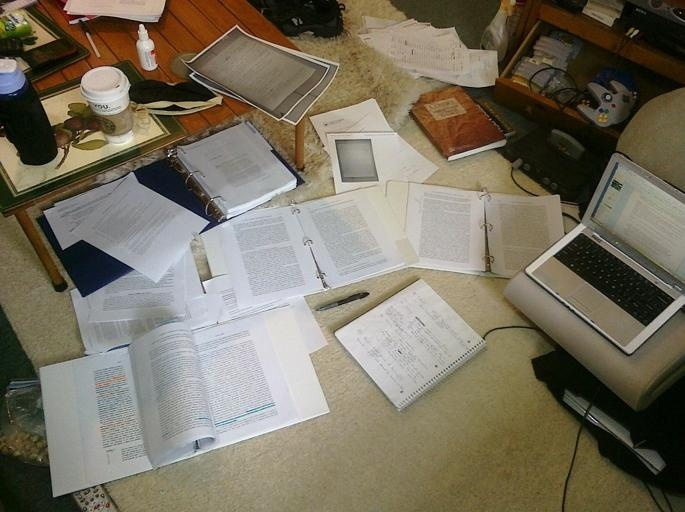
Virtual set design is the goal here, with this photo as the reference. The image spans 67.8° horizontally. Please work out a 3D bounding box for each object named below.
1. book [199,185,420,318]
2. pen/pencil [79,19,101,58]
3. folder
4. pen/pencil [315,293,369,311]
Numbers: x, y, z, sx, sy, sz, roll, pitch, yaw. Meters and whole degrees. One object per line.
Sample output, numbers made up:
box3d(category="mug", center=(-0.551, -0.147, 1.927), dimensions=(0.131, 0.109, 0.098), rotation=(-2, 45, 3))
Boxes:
box3d(category="book", center=(-0.108, -0.031, 1.625), dimensions=(0.593, 0.105, 0.353), rotation=(-16, 65, -16))
box3d(category="pen/pencil", center=(-0.848, -0.727, 1.706), dimensions=(0.024, 0.015, 0.176), rotation=(-18, 69, -26))
box3d(category="folder", center=(-0.420, -0.206, 1.655), dimensions=(0.915, 0.143, 0.458), rotation=(-31, 76, -16))
box3d(category="pen/pencil", center=(-0.003, 0.144, 1.577), dimensions=(0.125, 0.014, 0.017), rotation=(-18, 77, -14))
